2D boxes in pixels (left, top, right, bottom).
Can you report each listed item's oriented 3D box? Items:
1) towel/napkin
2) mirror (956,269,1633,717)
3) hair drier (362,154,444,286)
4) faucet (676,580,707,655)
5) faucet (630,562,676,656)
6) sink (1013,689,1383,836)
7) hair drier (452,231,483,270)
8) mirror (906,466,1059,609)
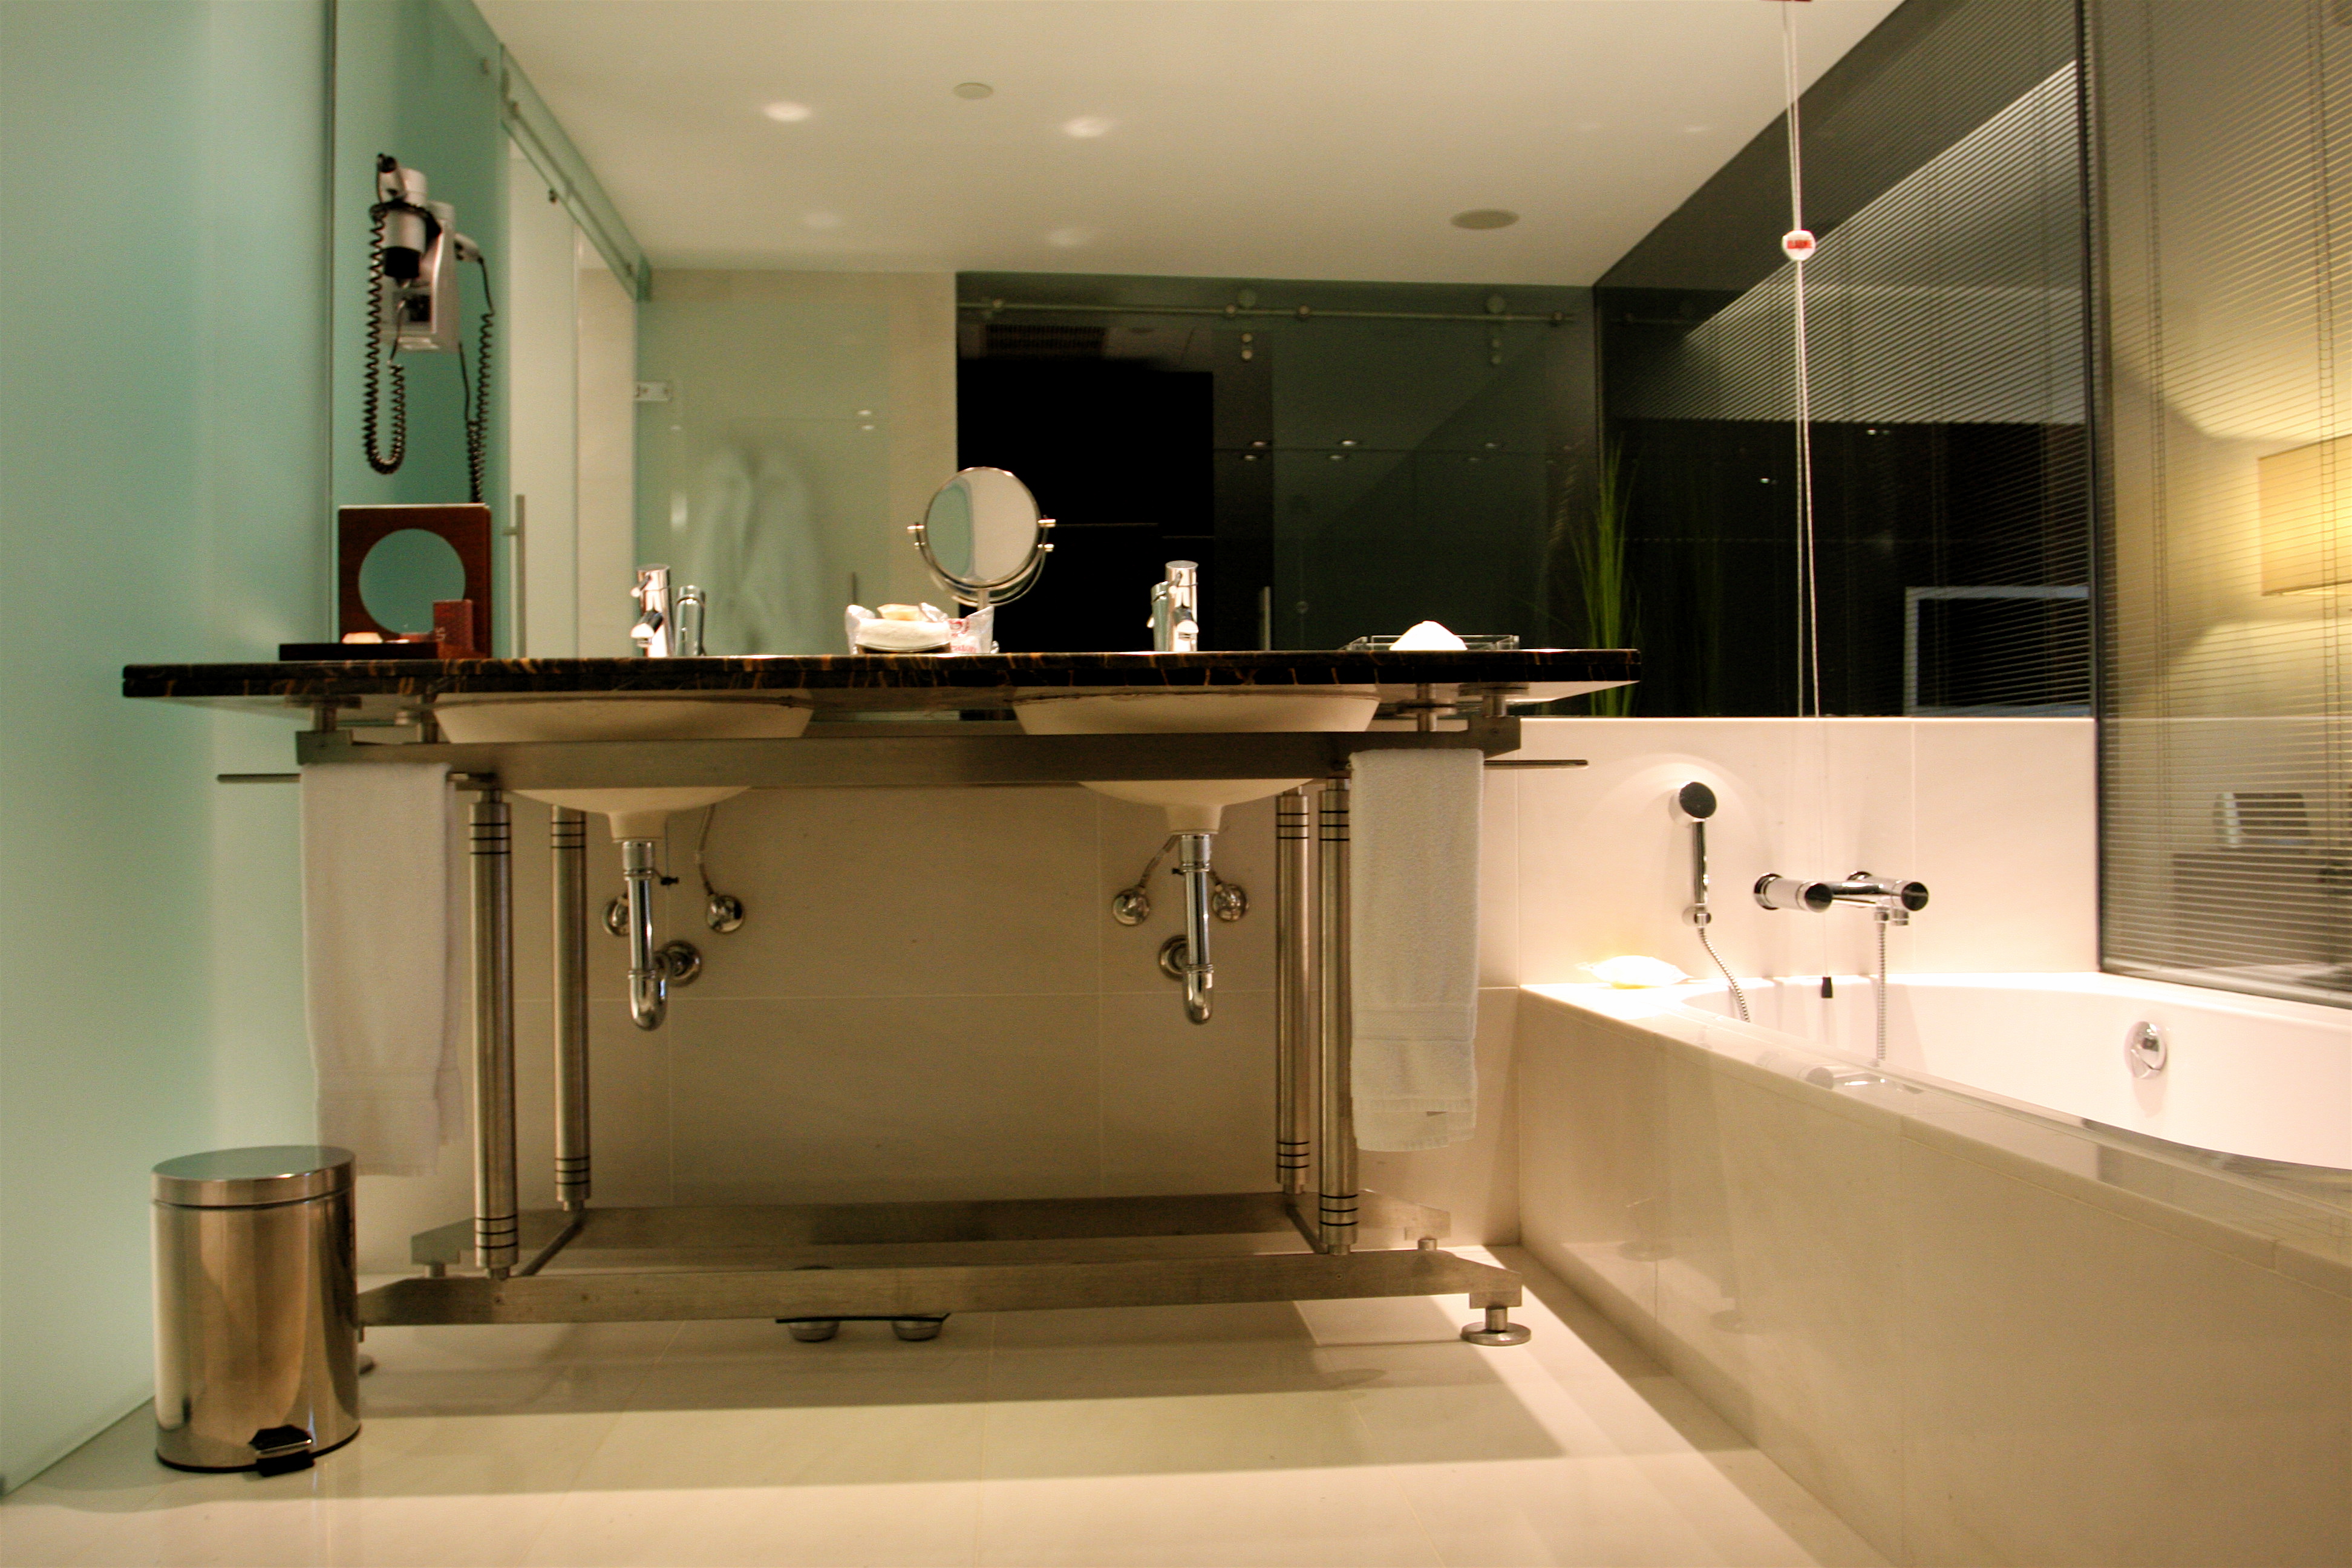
[{"bbox_3d":[0.429,0.292,3.483,0.235,0.701,0.094,-1,3,4],"label":"towel/napkin"},{"bbox_3d":[0.235,-0.703,4.228,1.409,0.806,0.144,-1,3,-7],"label":"mirror"},{"bbox_3d":[-1.593,-1.116,3.887,0.168,0.239,0.127,0,3,20],"label":"hair drier"},{"bbox_3d":[-1.029,-0.347,4.076,0.047,0.142,0.125,-1,3,5],"label":"faucet"},{"bbox_3d":[-1.083,-0.357,3.977,0.096,0.189,0.370,-2,3,-16],"label":"faucet"},{"bbox_3d":[0.006,-0.029,3.817,0.762,0.265,0.767,-1,-3,9],"label":"sink"},{"bbox_3d":[-1.488,-1.108,4.023,0.051,0.024,0.069,7,2,-20],"label":"hair drier"},{"bbox_3d":[-0.418,-0.503,4.051,0.324,0.311,0.053,1,6,2],"label":"mirror"}]
